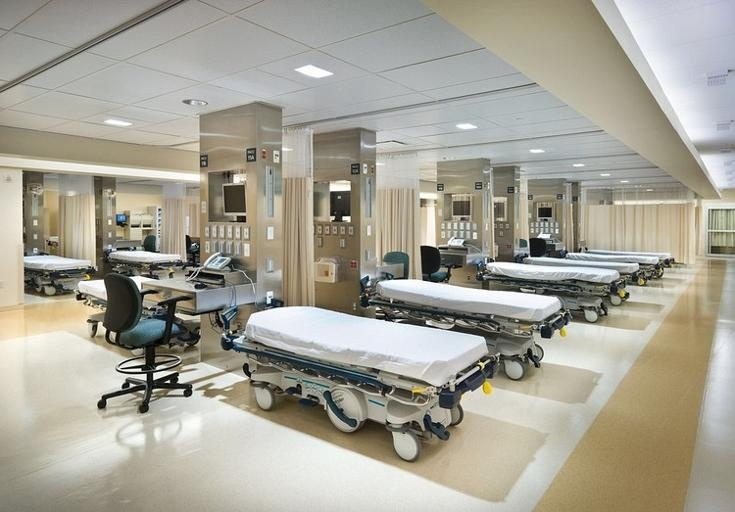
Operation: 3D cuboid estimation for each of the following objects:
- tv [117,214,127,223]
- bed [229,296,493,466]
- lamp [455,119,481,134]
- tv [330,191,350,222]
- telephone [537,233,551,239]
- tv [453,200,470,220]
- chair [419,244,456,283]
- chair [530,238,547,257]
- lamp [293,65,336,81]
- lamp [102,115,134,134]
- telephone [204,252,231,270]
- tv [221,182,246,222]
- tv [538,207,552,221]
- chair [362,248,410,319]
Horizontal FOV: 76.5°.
[{"bbox_3d":[-8.437,-1.286,15.870,0.334,0.293,0.196,-12,18,-39],"label":"tv"},{"bbox_3d":[-0.036,1.282,4.980,2.597,1.002,0.934,6,15,28],"label":"bed"},{"bbox_3d":[1.636,-2.141,7.666,0.341,0.107,0.631,2,13,11],"label":"lamp"},{"bbox_3d":[-0.469,-0.877,8.100,0.544,0.514,0.173,3,9,29],"label":"tv"},{"bbox_3d":[5.580,-0.643,14.590,0.319,0.077,0.340,1,10,39],"label":"telephone"},{"bbox_3d":[2.341,-1.137,11.488,0.530,0.468,0.069,3,2,32],"label":"tv"},{"bbox_3d":[1.477,0.314,9.845,0.750,1.037,0.705,2,3,36],"label":"chair"},{"bbox_3d":[4.811,-0.288,13.225,0.430,0.560,0.550,9,16,30],"label":"chair"},{"bbox_3d":[-0.630,-2.105,5.306,0.281,0.082,0.367,9,16,38],"label":"lamp"},{"bbox_3d":[-3.869,-2.050,7.149,0.381,0.113,0.613,-7,14,-27],"label":"lamp"},{"bbox_3d":[-2.095,0.067,6.476,0.239,0.116,0.300,1,25,26],"label":"telephone"},{"bbox_3d":[-1.926,-0.796,6.676,0.640,0.576,0.205,0,3,42],"label":"tv"},{"bbox_3d":[5.655,-1.350,14.699,0.466,0.415,0.063,-3,-6,34],"label":"tv"},{"bbox_3d":[0.331,0.357,8.698,0.880,0.873,0.574,5,-8,-40],"label":"chair"}]
